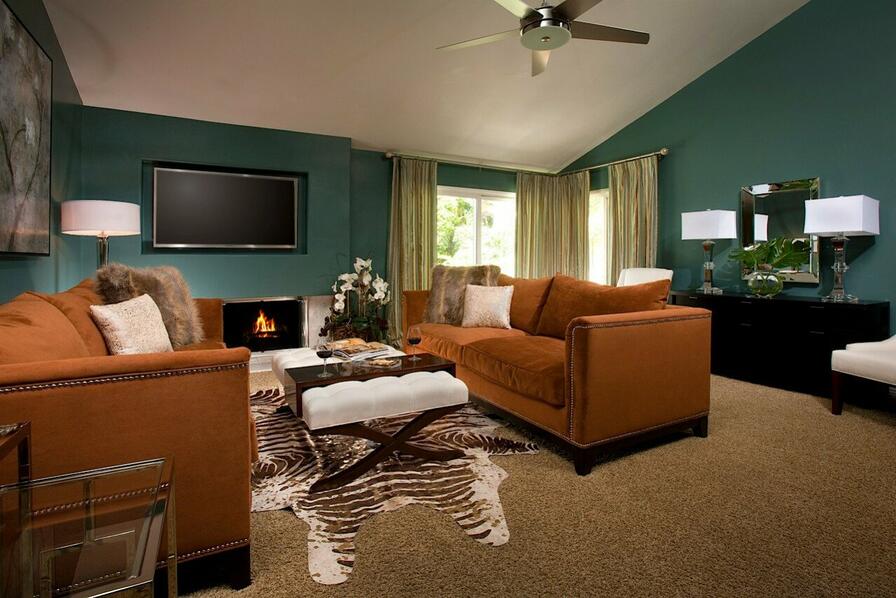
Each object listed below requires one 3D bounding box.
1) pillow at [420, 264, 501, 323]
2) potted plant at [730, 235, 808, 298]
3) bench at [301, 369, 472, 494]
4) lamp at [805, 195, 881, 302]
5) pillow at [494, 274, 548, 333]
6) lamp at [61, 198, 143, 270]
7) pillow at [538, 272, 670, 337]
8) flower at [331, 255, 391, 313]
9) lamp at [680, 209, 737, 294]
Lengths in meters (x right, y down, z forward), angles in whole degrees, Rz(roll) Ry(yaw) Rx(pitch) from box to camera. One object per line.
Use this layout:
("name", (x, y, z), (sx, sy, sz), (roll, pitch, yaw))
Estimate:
("pillow", (0.056, -0.078, 5.735), (0.603, 0.612, 0.259), (4, -14, 21))
("potted plant", (3.129, -0.339, 5.736), (0.595, 0.429, 0.602), (-4, 2, -34))
("bench", (-0.400, 0.811, 3.876), (1.044, 0.548, 0.469), (-5, 7, -17))
("lamp", (3.527, -0.459, 5.268), (0.491, 0.888, 0.615), (4, 9, 42))
("pillow", (0.746, 0.028, 5.594), (0.286, 0.541, 0.778), (-4, 6, -16))
("lamp", (-2.823, -0.465, 4.839), (0.556, 0.607, 0.563), (-2, 0, 10))
("pillow", (1.319, 0.036, 4.737), (0.437, 0.484, 1.141), (0, -8, -33))
("flower", (-0.891, -0.158, 6.166), (0.385, 0.499, 0.481), (5, -19, 0))
("lamp", (2.782, -0.516, 6.223), (0.477, 0.825, 0.591), (4, 9, 40))
